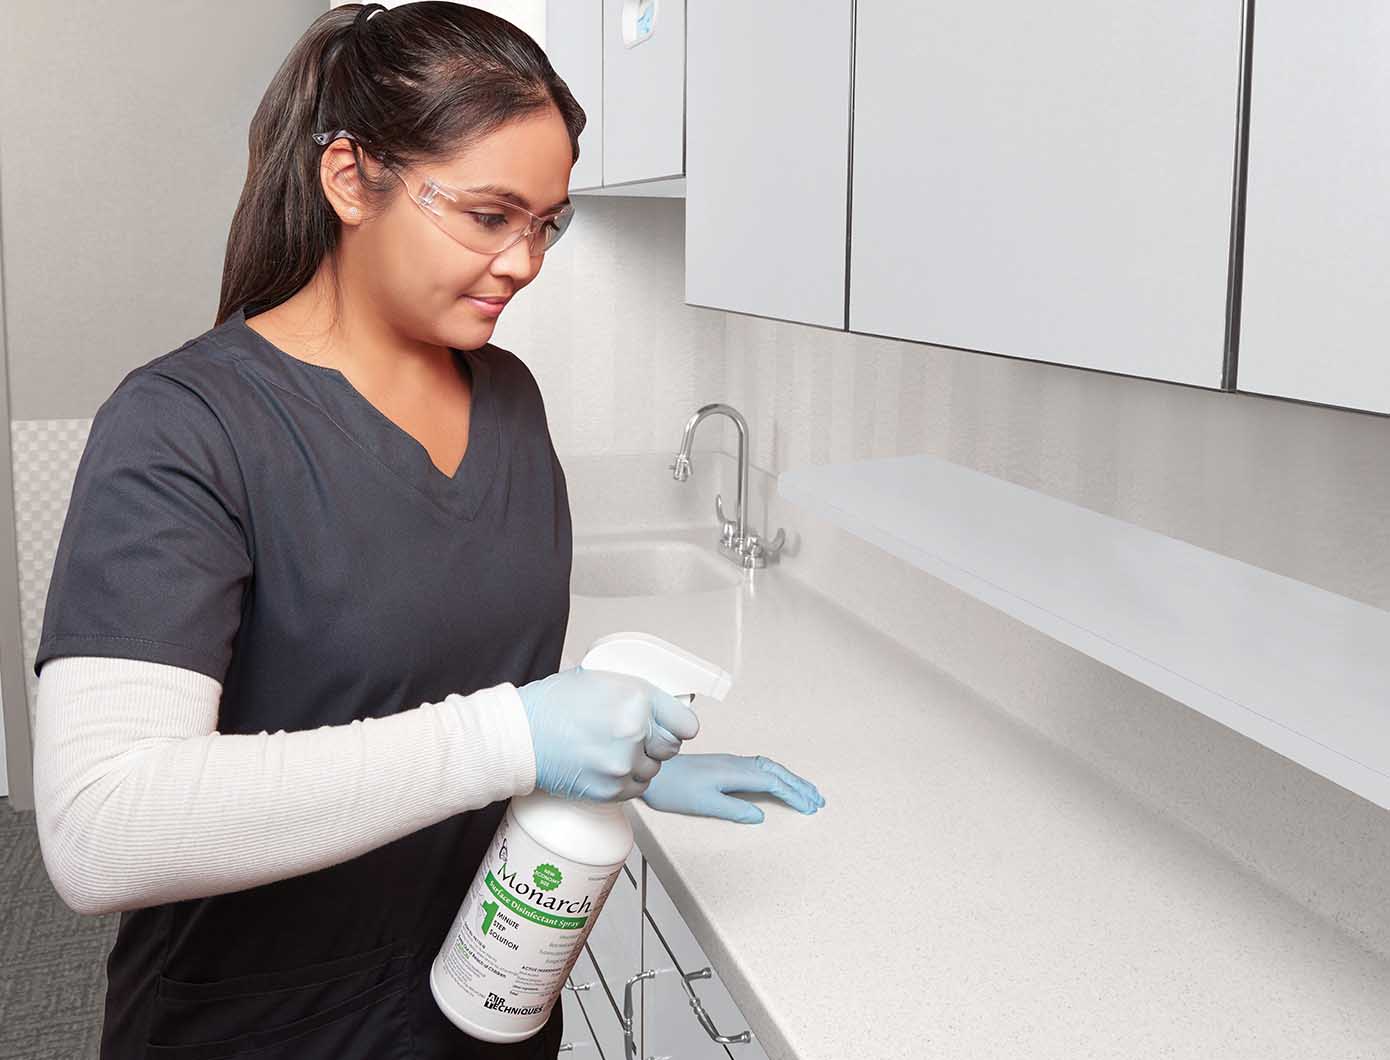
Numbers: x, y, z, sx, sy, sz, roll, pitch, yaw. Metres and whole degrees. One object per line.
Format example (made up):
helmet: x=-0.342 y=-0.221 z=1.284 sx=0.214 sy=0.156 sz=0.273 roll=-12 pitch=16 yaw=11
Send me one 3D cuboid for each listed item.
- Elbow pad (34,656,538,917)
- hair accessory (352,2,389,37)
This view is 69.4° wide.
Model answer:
Elbow pad: x=-0.373 y=0.159 z=0.855 sx=0.252 sy=0.097 sz=0.288 roll=-4 pitch=21 yaw=-13
hair accessory: x=-0.339 y=-0.537 z=1.052 sx=0.038 sy=0.021 sz=0.047 roll=-1 pitch=15 yaw=6
